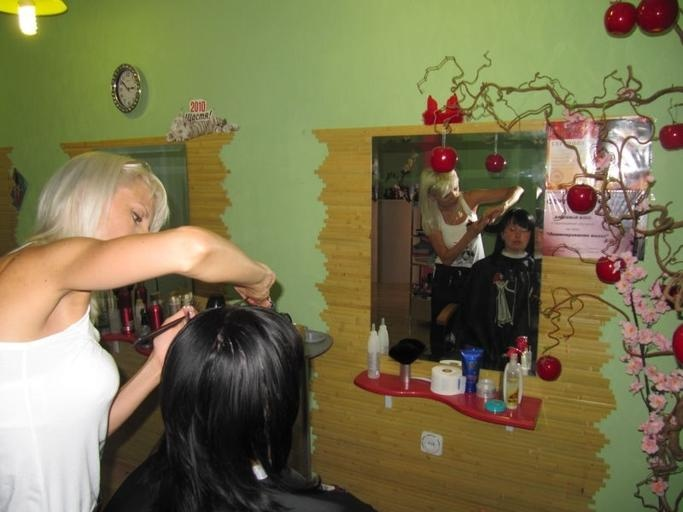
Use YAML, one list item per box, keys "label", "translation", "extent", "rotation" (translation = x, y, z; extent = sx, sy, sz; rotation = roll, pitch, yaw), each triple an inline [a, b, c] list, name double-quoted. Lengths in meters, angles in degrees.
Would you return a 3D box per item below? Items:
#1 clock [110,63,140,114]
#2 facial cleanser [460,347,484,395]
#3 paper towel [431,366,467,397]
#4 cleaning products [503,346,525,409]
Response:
- label: "clock"
  translation: [-1.196, -0.929, 2.970]
  extent: [0.190, 0.261, 0.054]
  rotation: [5, 8, 30]
- label: "facial cleanser"
  translation: [0.564, 0.505, 2.338]
  extent: [0.088, 0.194, 0.054]
  rotation: [2, 7, 10]
- label: "paper towel"
  translation: [0.468, 0.538, 2.332]
  extent: [0.115, 0.078, 0.117]
  rotation: [-3, 4, -14]
- label: "cleaning products"
  translation: [0.727, 0.529, 2.267]
  extent: [0.077, 0.255, 0.073]
  rotation: [3, 8, 19]
